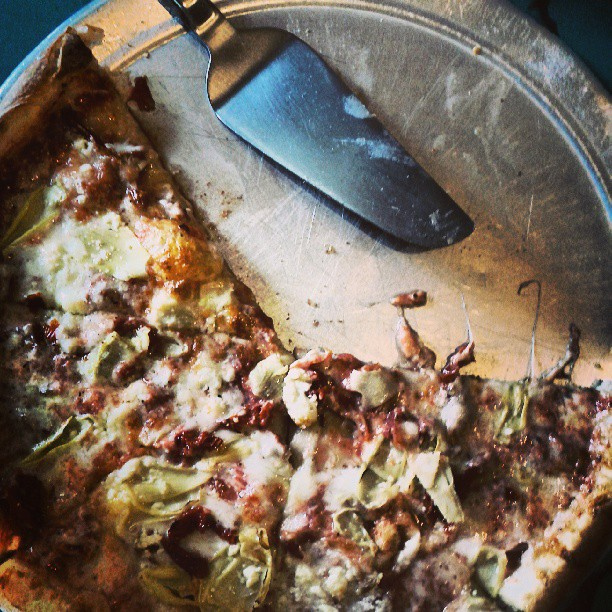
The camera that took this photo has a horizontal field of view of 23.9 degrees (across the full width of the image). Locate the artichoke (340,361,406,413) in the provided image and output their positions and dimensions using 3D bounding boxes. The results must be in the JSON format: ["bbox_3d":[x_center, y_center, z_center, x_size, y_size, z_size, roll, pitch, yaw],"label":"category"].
[{"bbox_3d":[0.160,0.194,3.490,0.129,0.117,0.108,23,-54,38],"label":"artichoke"}]
